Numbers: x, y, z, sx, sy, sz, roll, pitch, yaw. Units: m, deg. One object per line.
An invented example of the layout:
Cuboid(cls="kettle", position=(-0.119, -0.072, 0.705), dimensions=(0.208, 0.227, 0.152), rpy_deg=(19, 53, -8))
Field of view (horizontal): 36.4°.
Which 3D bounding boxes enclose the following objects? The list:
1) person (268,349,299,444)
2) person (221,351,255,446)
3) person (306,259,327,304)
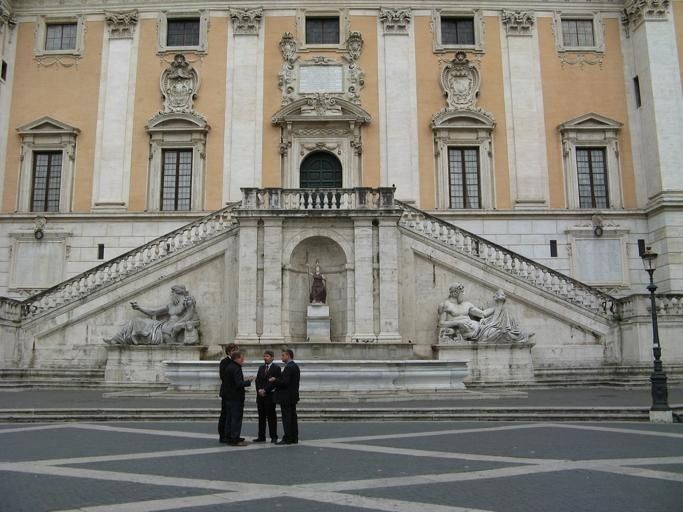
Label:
Cuboid(cls="person", position=(-1.395, 3.644, 26.993), dimensions=(0.636, 2.472, 0.699), rpy_deg=(-3, -18, 9))
Cuboid(cls="person", position=(-2.719, 3.655, 26.938), dimensions=(0.723, 2.512, 0.605), rpy_deg=(2, -18, -6))
Cuboid(cls="person", position=(-0.845, 0.948, 38.292), dimensions=(0.708, 1.843, 1.145), rpy_deg=(1, -17, -2))
